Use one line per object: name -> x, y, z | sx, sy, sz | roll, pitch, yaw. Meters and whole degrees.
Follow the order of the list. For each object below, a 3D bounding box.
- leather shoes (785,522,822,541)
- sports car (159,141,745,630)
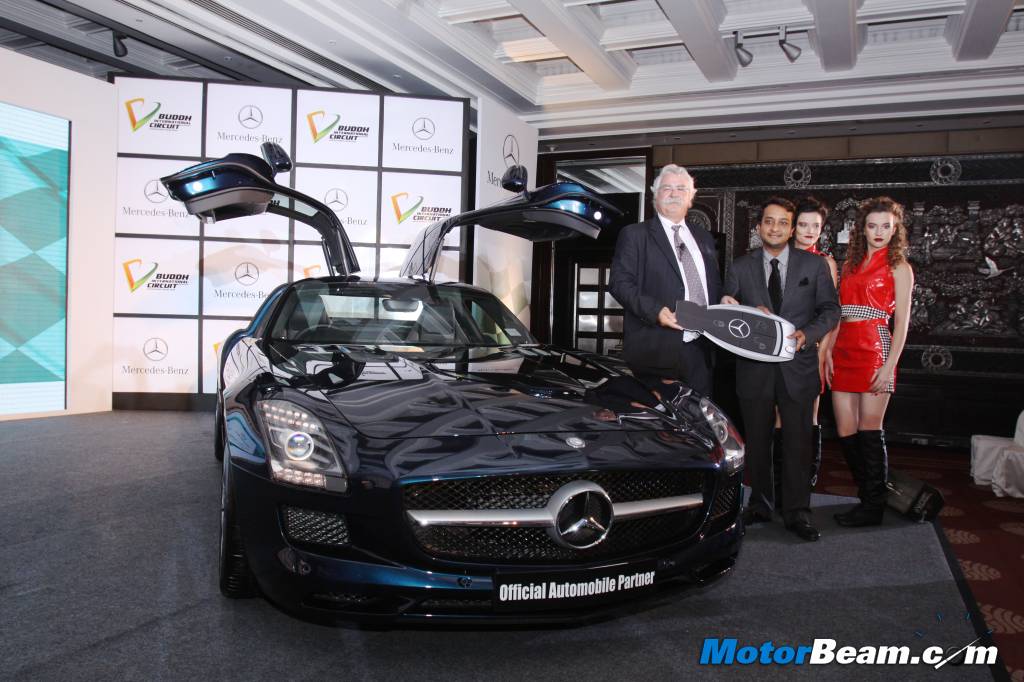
leather shoes -> 1.784, 1.143, 3.900 | 0.094, 0.083, 0.214 | 2, -2, -16
sports car -> -0.526, 0.184, 3.493 | 1.808, 1.198, 2.640 | 1, 2, -23
